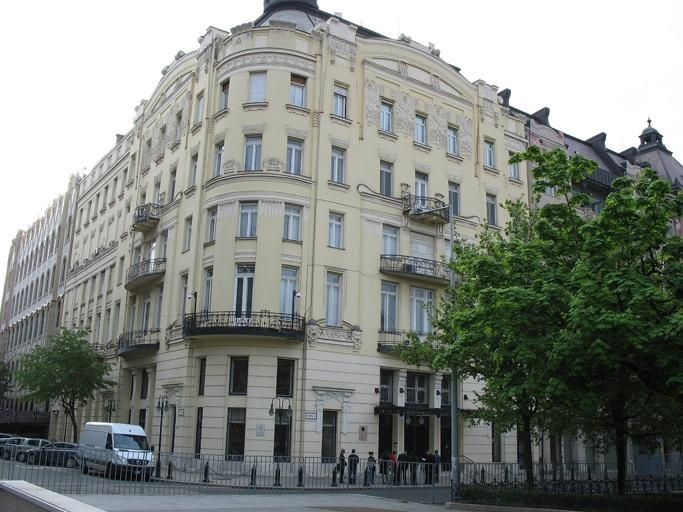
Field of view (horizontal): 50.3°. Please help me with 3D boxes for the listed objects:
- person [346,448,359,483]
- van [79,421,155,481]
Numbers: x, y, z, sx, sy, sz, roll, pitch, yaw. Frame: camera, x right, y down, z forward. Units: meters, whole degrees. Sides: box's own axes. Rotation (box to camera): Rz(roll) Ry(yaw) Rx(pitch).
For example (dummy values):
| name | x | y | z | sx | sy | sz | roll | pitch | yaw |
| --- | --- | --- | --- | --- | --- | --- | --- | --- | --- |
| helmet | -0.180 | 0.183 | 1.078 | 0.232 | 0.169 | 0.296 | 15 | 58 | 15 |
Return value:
| name | x | y | z | sx | sy | sz | roll | pitch | yaw |
| --- | --- | --- | --- | --- | --- | --- | --- | --- | --- |
| person | 0.560 | 10.269 | 34.607 | 0.538 | 1.254 | 1.082 | 0 | -20 | 1 |
| van | -10.638 | 9.129 | 34.420 | 2.096 | 2.339 | 6.399 | 13 | -17 | -36 |
